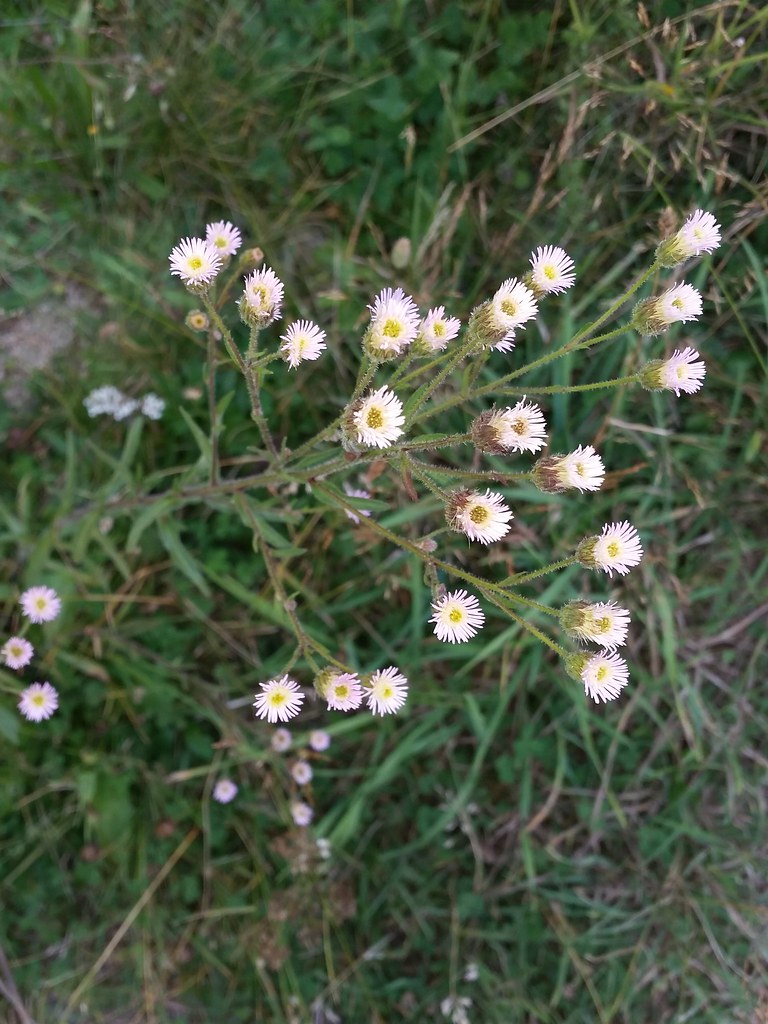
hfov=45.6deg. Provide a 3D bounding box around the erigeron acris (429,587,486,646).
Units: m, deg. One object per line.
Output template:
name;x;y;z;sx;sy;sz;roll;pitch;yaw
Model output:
erigeron acris;0.176;0.261;2.304;0.115;0.148;0.152;3;69;-4

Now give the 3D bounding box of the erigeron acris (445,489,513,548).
erigeron acris;0.225;0.033;2.192;0.138;0.058;0.133;-22;80;-21

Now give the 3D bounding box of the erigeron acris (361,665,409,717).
erigeron acris;0.007;0.457;2.340;0.120;0.176;0.109;-23;73;-13

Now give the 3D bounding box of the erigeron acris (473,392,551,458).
erigeron acris;0.291;-0.199;2.178;0.152;0.070;0.140;-2;71;-23

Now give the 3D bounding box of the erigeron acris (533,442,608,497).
erigeron acris;0.459;-0.103;2.258;0.153;0.093;0.113;-4;68;12

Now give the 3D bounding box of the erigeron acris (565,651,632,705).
erigeron acris;0.535;0.417;2.313;0.157;0.167;0.124;-10;70;-9

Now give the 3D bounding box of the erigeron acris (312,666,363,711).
erigeron acris;-0.115;0.428;2.273;0.123;0.051;0.116;-27;104;-11

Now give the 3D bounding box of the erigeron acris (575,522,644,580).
erigeron acris;0.580;0.120;2.339;0.160;0.073;0.151;-24;41;-21

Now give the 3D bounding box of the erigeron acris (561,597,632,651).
erigeron acris;0.521;0.269;2.282;0.120;0.161;0.076;28;76;-37
